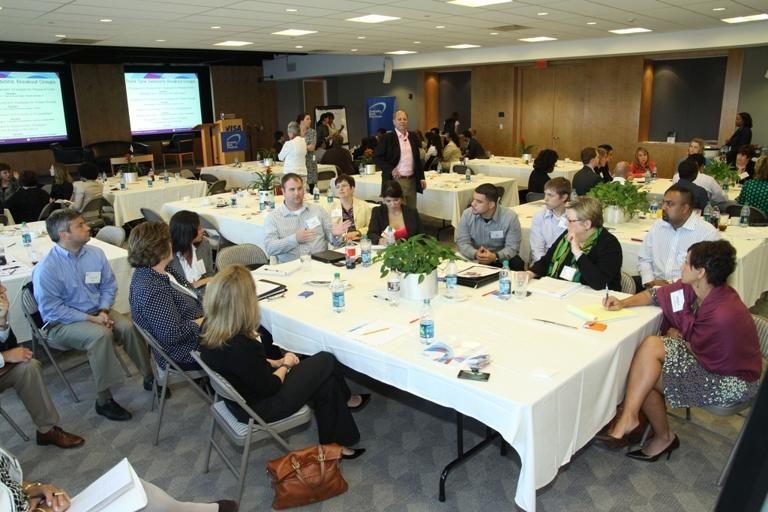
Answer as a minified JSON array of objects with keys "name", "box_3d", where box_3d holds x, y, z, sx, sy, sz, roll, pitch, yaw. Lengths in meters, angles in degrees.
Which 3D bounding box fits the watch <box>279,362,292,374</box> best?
[{"name":"watch","box_3d":[-0.687,0.785,3.491,0.059,0.040,0.064,-33,-28,8]}]

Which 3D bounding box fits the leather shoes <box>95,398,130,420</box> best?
[{"name":"leather shoes","box_3d":[-2.291,1.301,4.205,0.304,0.123,0.144,10,15,15]}]

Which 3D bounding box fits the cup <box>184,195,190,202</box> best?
[{"name":"cup","box_3d":[-2.939,-0.847,7.348,0.127,0.086,0.124,-3,7,0]}]

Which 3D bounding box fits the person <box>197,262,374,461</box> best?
[{"name":"person","box_3d":[-0.724,0.800,3.445,0.951,1.532,0.386,-11,19,-21]}]

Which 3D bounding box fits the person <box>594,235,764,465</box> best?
[{"name":"person","box_3d":[2.079,0.671,3.517,0.959,1.561,0.483,-5,18,-2]}]

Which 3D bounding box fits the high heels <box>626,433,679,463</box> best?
[{"name":"high heels","box_3d":[1.939,1.404,3.701,0.453,0.206,0.148,1,5,3]}]
